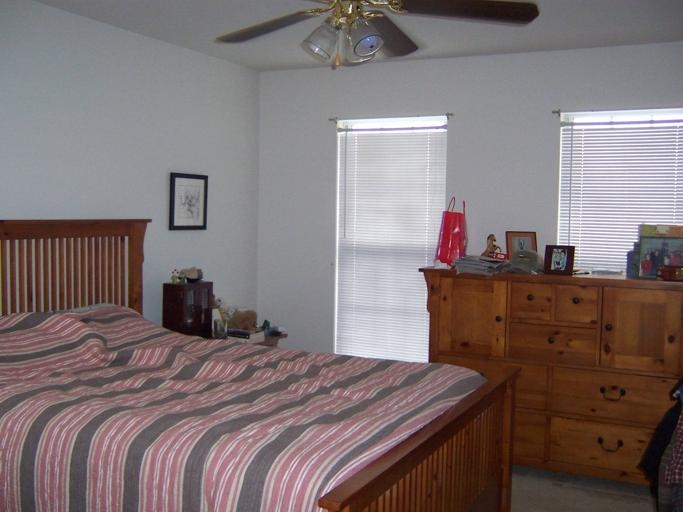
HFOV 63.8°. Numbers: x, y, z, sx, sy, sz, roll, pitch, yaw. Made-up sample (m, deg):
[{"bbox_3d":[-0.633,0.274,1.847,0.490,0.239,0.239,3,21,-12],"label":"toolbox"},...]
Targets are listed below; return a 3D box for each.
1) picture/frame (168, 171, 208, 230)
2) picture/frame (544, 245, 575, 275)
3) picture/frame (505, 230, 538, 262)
[{"bbox_3d":[-1.287,-0.459,4.527,0.023,0.527,0.478,8,10,36],"label":"picture/frame"},{"bbox_3d":[1.553,0.030,3.909,0.204,0.237,0.025,2,-8,23],"label":"picture/frame"},{"bbox_3d":[1.386,-0.073,4.220,0.237,0.237,0.025,1,-2,11],"label":"picture/frame"}]
